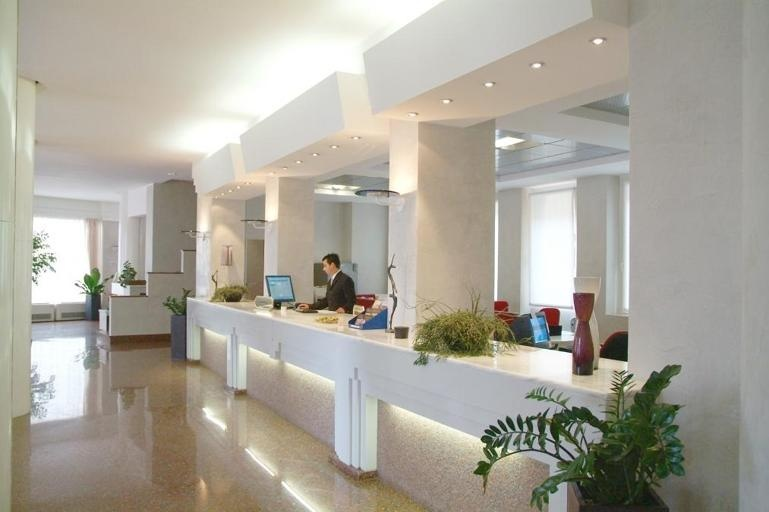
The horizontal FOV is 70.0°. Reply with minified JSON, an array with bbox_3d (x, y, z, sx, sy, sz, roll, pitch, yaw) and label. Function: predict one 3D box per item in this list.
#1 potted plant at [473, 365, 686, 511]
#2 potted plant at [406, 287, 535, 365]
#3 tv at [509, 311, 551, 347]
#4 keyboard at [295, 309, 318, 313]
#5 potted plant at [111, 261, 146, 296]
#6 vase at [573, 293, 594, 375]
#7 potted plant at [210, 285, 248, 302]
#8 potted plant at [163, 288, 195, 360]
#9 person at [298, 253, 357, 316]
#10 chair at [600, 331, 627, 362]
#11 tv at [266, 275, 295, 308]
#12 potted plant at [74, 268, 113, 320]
[{"bbox_3d":[1.290,1.285,3.502,1.079,1.227,0.956,2,3,30],"label":"potted plant"},{"bbox_3d":[0.748,0.644,5.181,1.096,0.532,1.459,2,4,37],"label":"potted plant"},{"bbox_3d":[1.699,0.866,6.439,0.337,0.421,0.431,-15,5,-20],"label":"tv"},{"bbox_3d":[-1.070,0.751,7.585,0.280,0.043,0.283,0,3,-10],"label":"keyboard"},{"bbox_3d":[-6.524,0.575,14.217,0.400,0.804,1.283,-21,13,-26],"label":"potted plant"},{"bbox_3d":[1.476,0.566,4.049,0.185,0.600,0.154,0,3,1],"label":"vase"},{"bbox_3d":[-2.591,0.606,9.424,0.343,0.189,0.348,-1,-2,40],"label":"potted plant"},{"bbox_3d":[-4.302,1.330,11.404,0.456,1.200,2.242,-1,3,-20],"label":"potted plant"},{"bbox_3d":[-0.801,0.384,7.739,0.673,0.810,1.046,-1,3,-21],"label":"person"},{"bbox_3d":[2.523,0.983,6.050,0.271,0.335,0.506,1,3,21],"label":"chair"},{"bbox_3d":[-1.601,0.552,8.375,0.456,0.504,0.287,0,-5,-39],"label":"tv"},{"bbox_3d":[-9.129,1.158,17.109,0.826,1.552,1.189,-2,3,-30],"label":"potted plant"}]
